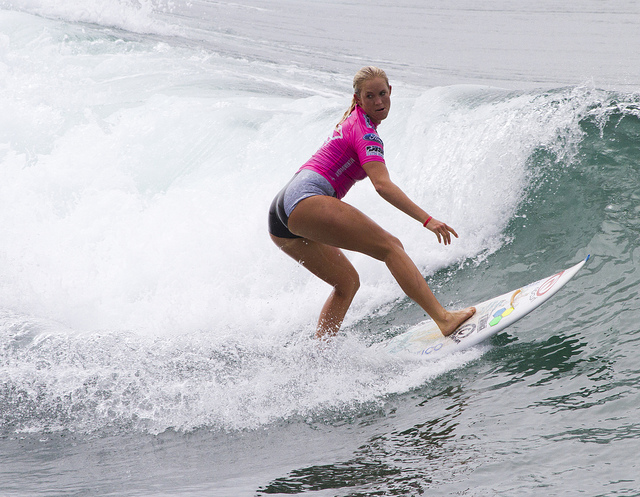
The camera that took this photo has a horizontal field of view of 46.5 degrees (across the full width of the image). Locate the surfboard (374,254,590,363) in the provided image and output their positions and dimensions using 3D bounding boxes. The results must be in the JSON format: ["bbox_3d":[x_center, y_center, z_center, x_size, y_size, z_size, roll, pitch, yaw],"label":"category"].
[{"bbox_3d":[1.235,0.490,6.140,1.214,1.147,0.722,-8,36,-25],"label":"surfboard"}]
